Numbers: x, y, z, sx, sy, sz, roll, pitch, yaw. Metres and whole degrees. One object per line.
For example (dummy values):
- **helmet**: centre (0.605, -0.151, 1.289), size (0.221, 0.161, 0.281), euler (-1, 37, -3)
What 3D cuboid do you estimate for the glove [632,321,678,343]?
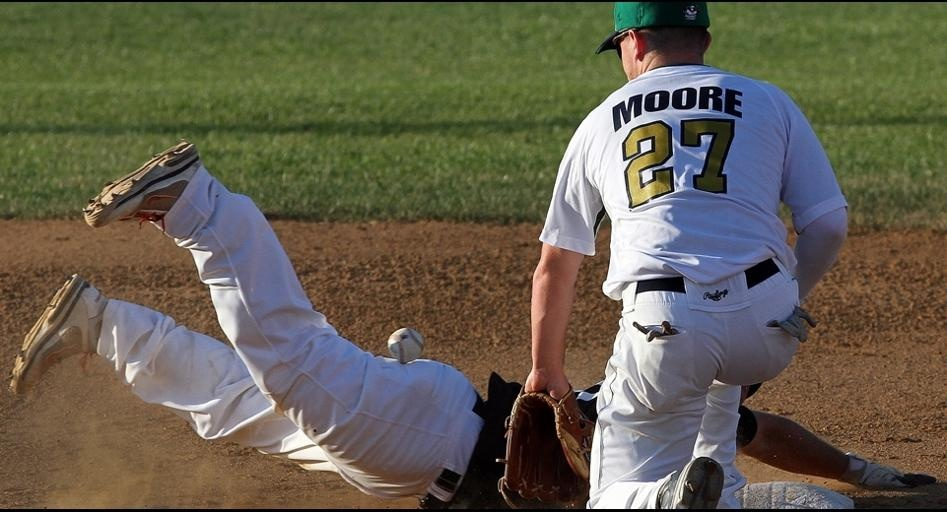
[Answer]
- **glove**: centre (1.923, 0.789, 18.624), size (0.304, 0.091, 0.277), euler (6, 17, 14)

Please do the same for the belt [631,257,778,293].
- **belt**: centre (2.478, 0.248, 18.652), size (1.536, 0.240, 0.169), euler (-7, 25, -2)
